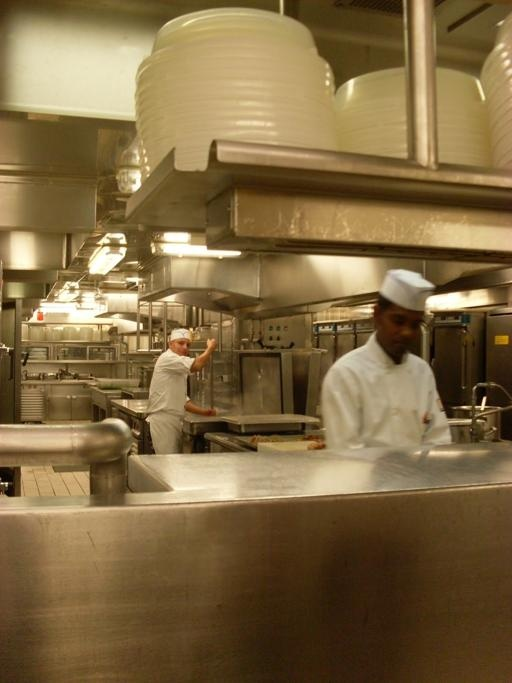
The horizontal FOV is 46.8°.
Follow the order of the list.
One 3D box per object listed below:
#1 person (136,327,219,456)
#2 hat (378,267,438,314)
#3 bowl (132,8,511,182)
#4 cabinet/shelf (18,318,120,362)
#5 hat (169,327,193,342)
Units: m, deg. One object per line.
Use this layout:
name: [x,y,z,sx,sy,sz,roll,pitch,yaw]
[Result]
person: [-0.620,0.364,4.841,0.503,1.076,0.853,2,-9,-10]
hat: [0.482,-0.164,1.921,0.128,0.082,0.159,18,1,0]
bowl: [0.061,-0.371,0.981,0.407,0.137,0.216,1,-3,-19]
cabinet/shelf: [-4.337,-0.018,14.025,2.185,1.191,1.920,4,-9,-19]
hat: [-0.646,-0.057,5.175,0.187,0.186,0.257,1,-4,-13]
